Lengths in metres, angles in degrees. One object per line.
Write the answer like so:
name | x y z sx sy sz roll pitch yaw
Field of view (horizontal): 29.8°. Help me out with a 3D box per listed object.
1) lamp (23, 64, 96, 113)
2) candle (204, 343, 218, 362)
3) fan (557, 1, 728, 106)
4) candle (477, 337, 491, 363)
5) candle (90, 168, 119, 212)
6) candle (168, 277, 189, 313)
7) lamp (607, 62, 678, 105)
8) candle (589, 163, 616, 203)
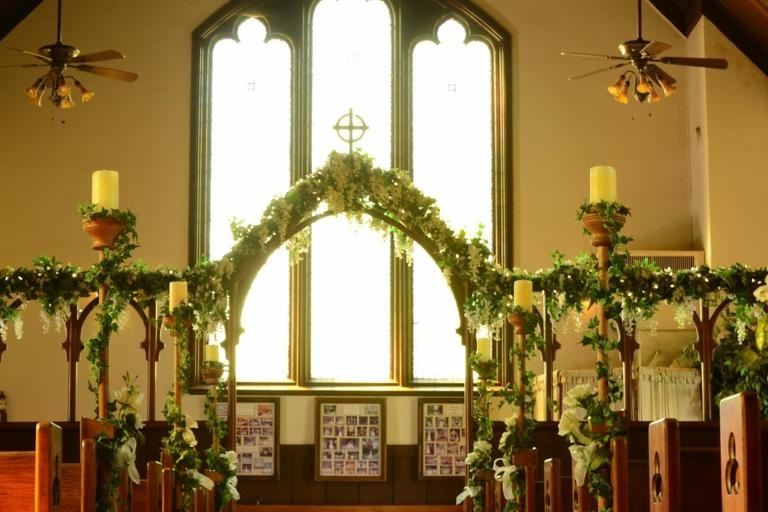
lamp | -3.571 -1.826 15.916 0.765 0.613 0.649 -3 -4 38
candle | -1.650 0.936 13.818 0.152 0.264 0.150 -2 -3 8
fan | 2.906 -1.990 15.740 1.534 1.402 1.672 -5 -7 32
candle | 0.944 0.881 13.636 0.139 0.260 0.272 -2 -10 4
candle | -2.491 -0.585 12.883 0.223 0.371 0.215 2 -11 -15
candle | -1.912 0.385 13.373 0.181 0.286 0.229 0 -10 -9
lamp | 2.824 -1.850 15.680 0.694 0.606 0.863 -4 -2 0
candle | 1.890 -0.617 12.435 0.227 0.381 0.262 -3 -10 7
